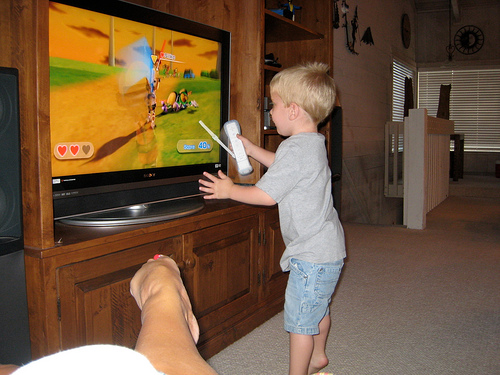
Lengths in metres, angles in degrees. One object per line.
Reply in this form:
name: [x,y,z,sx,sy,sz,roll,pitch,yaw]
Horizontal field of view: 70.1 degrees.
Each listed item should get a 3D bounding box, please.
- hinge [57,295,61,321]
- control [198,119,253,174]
hinge: [-0.584,0.369,1.089,0.013,0.072,0.005,4,4,-26]
control: [-0.081,-0.206,1.937,0.178,0.352,0.085,-16,3,-8]
